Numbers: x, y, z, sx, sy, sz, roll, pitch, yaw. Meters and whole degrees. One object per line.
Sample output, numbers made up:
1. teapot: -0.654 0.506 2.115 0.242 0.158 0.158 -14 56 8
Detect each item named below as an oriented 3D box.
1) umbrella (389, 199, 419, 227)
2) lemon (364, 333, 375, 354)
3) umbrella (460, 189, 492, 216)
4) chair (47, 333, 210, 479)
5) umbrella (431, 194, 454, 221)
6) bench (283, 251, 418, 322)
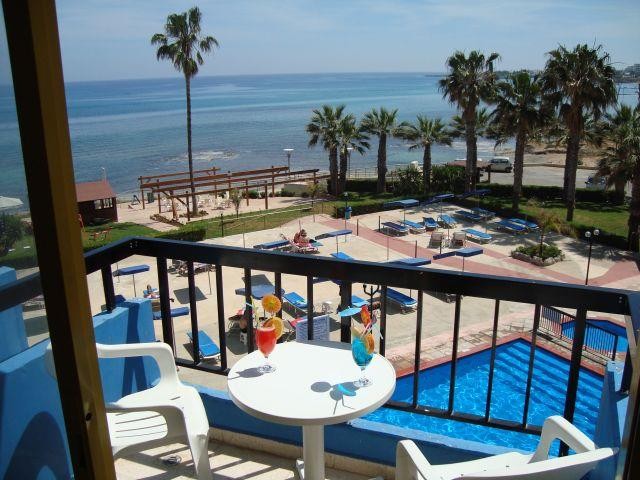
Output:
1. umbrella: 4.076 -1.293 24.759 0.987 1.147 1.160 -13 27 -17
2. lemon: 0.224 0.457 2.205 0.044 0.079 0.053 0 -17 -6
3. umbrella: 8.195 -1.956 26.746 1.117 1.911 1.565 -13 27 -17
4. chair: -0.755 0.757 2.309 0.408 0.571 0.516 -8 13 -22
5. umbrella: 6.276 -1.660 26.008 0.737 1.162 1.404 8 19 31
6. bench: 1.567 1.072 12.710 2.261 0.498 2.182 -11 25 -28
